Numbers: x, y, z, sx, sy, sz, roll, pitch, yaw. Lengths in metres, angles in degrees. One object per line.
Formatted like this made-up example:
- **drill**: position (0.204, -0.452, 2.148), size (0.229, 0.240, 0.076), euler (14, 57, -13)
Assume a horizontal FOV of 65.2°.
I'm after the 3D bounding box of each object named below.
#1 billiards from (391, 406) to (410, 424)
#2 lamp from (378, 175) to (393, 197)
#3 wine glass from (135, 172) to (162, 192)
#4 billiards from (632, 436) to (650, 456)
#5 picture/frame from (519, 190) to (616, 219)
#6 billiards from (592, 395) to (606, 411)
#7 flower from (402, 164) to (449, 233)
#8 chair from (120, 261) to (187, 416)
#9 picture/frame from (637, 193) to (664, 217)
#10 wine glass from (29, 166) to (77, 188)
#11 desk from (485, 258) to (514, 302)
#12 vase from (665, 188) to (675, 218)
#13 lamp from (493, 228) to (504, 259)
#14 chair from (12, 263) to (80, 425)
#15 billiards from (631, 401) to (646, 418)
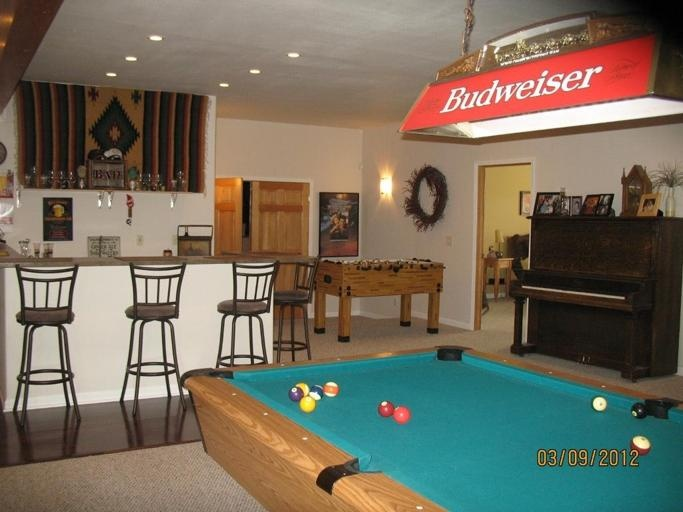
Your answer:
- **billiards**: position (0.255, 0.676, 2.305), size (0.066, 0.076, 0.065), euler (-22, 36, -37)
- **lamp**: position (0.793, -1.258, 9.575), size (0.086, 0.383, 0.302), euler (-5, 10, -37)
- **wine glass**: position (-2.519, -0.962, 6.929), size (0.353, 0.224, 0.181), euler (-2, 8, -19)
- **billiards**: position (1.113, 0.705, 1.985), size (0.061, 0.033, 0.061), euler (-2, 12, -9)
- **picture/frame**: position (2.767, -0.624, 6.416), size (0.449, 0.291, 1.010), euler (-6, 10, -40)
- **billiards**: position (1.172, 0.674, 2.439), size (0.061, 0.033, 0.060), euler (10, 47, -3)
- **flower**: position (1.389, -0.974, 8.753), size (0.271, 0.934, 0.842), euler (1, -5, -31)
- **chair**: position (-1.643, 0.678, 4.613), size (0.614, 1.321, 0.850), euler (-2, 8, -17)
- **picture/frame**: position (3.310, -0.554, 5.739), size (0.223, 0.338, 0.275), euler (-4, 3, -31)
- **wine glass**: position (-3.548, -0.947, 6.524), size (0.382, 0.140, 0.275), euler (1, 2, -14)
- **desk**: position (3.106, 0.387, 10.703), size (0.489, 0.697, 0.464), euler (-2, 5, -27)
- **vase**: position (3.541, -0.581, 5.726), size (0.103, 0.301, 0.390), euler (5, 9, 32)
- **lamp**: position (3.207, -0.275, 10.906), size (0.185, 0.507, 0.536), euler (3, 8, 16)
- **chair**: position (-2.407, 0.685, 4.315), size (0.525, 1.285, 0.750), euler (-3, 9, -28)
- **billiards**: position (1.308, 0.683, 2.379), size (0.058, 0.059, 0.056), euler (-29, -8, -36)
